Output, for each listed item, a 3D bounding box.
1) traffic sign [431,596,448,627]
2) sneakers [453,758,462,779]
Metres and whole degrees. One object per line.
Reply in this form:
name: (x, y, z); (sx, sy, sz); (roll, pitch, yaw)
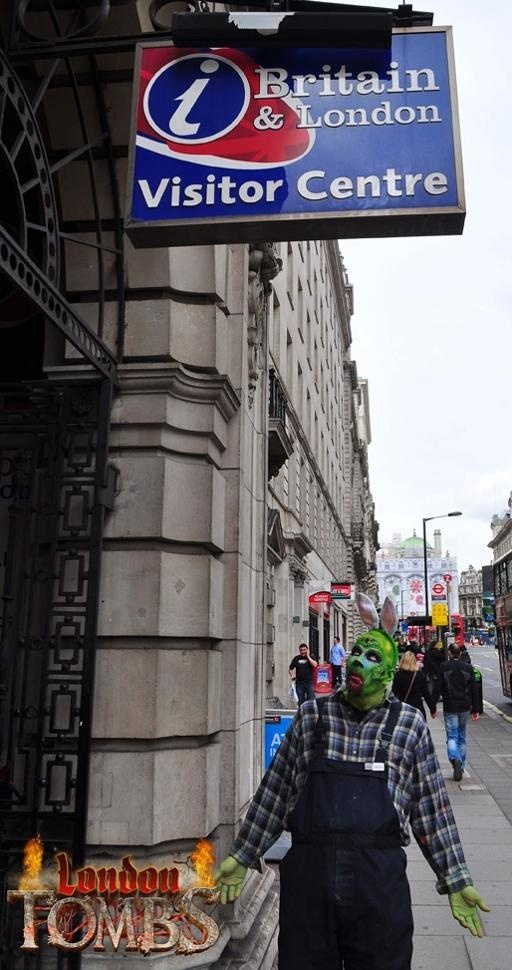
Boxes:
traffic sign: (10.684, 7.522, 40.904); (0.844, 1.285, 2.424); (-5, -14, 11)
sneakers: (2.836, 4.050, 9.903); (0.087, 0.358, 0.122); (0, -10, -3)
